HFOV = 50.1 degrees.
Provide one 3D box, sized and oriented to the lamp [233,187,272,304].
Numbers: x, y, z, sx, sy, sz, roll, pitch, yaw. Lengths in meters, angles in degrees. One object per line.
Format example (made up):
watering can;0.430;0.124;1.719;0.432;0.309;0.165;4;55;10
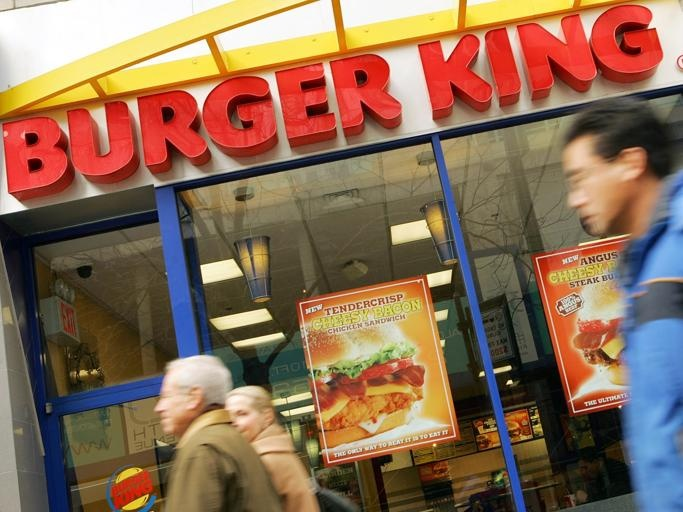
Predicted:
lamp;-0.759;0.068;6.480;0.311;0.713;0.067;-10;-12;-6

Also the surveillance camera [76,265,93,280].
surveillance camera;-2.487;0.153;7.008;0.144;0.130;0.035;-7;-6;3

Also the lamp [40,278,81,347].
lamp;-2.693;0.565;6.975;0.216;0.636;0.388;-28;-33;12

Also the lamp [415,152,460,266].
lamp;0.859;-0.207;6.437;0.220;0.615;0.053;-11;-12;1
